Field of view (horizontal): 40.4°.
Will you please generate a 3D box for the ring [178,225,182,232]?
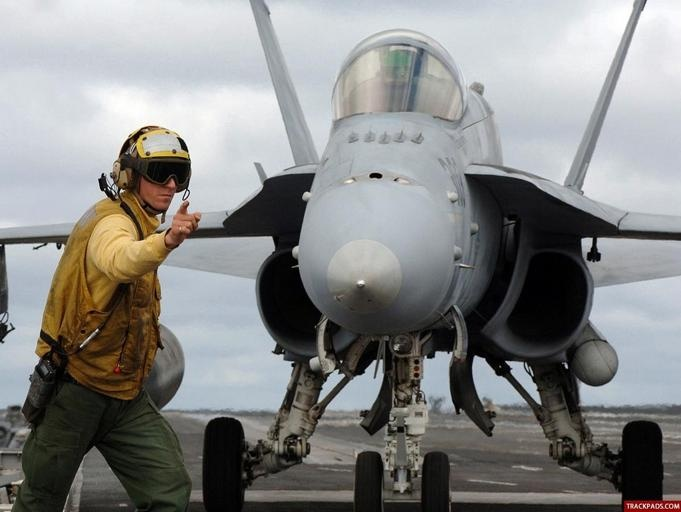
[{"bbox_3d":[-0.728,-0.125,4.218,0.027,0.026,0.006,0,-3,-3],"label":"ring"}]
